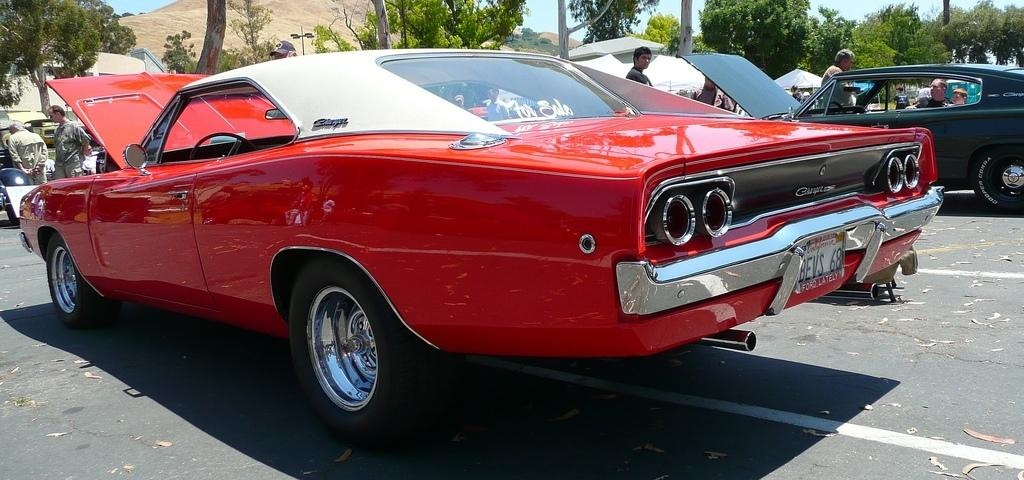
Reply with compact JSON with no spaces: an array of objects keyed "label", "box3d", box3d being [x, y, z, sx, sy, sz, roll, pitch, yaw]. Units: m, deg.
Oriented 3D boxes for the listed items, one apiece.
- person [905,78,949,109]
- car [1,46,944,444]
[{"label":"person","box3d":[8.026,-2.726,11.922,0.904,0.601,1.186,3,11,30]},{"label":"car","box3d":[-1.540,-0.274,6.473,8.431,2.380,4.199,5,7,34]}]
